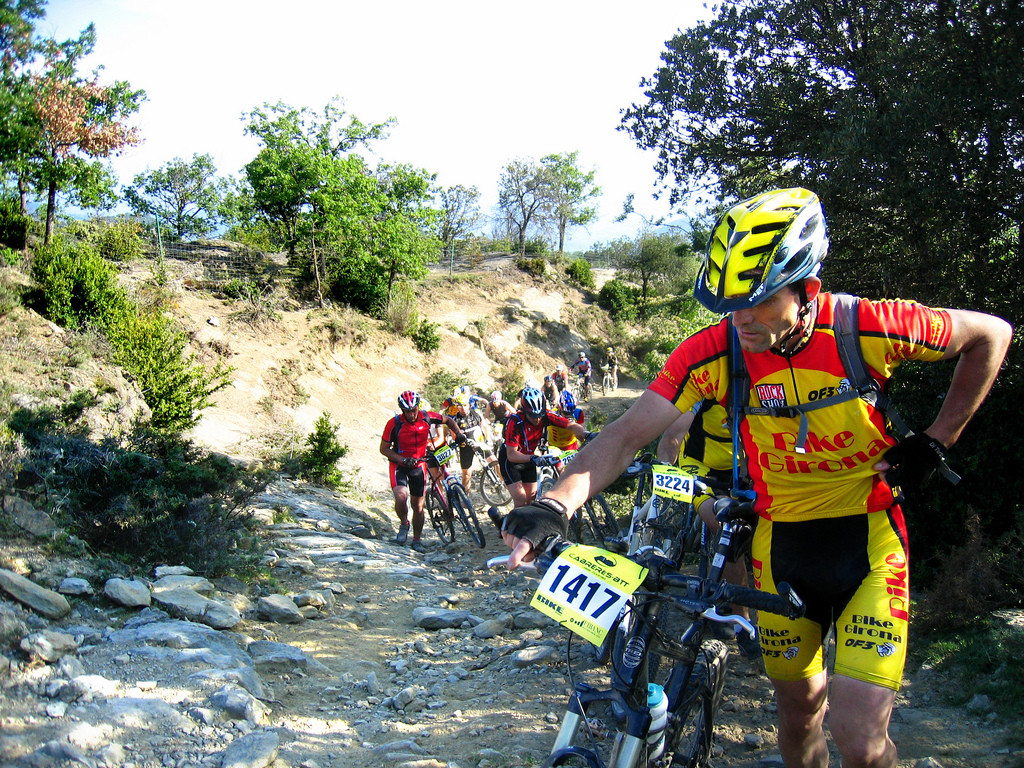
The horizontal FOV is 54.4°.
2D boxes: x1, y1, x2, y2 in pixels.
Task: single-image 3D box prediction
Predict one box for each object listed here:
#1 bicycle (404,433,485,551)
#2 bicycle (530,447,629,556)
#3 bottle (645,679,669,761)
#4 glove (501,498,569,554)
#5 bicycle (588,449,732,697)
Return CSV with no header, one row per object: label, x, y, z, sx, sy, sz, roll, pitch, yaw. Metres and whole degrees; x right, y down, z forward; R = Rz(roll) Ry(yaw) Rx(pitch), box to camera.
bicycle,-0.956,1.675,14.884,0.741,1.056,1.574,-18,2,-19
bicycle,0.852,1.504,13.185,0.915,1.278,1.934,-7,-6,-15
bottle,0.864,2.030,5.961,0.114,0.437,0.298,3,-14,13
glove,0.142,0.815,5.855,0.374,0.324,0.180,7,-13,3
bicycle,1.293,1.236,8.650,0.976,1.264,1.963,23,0,19
